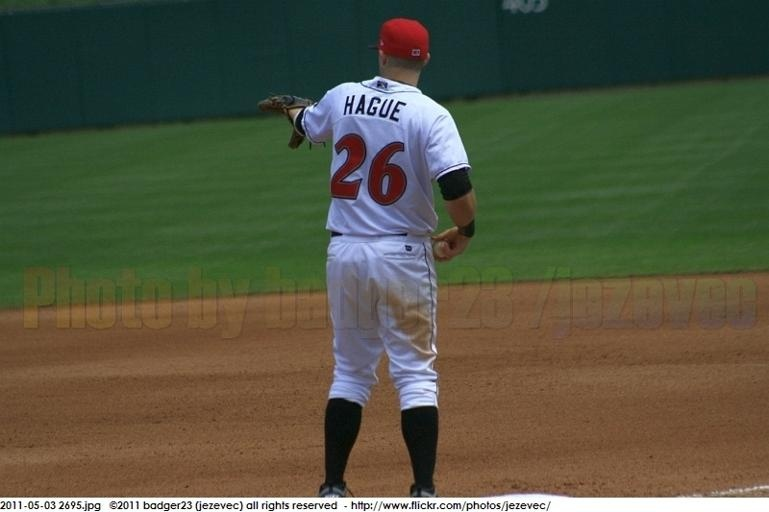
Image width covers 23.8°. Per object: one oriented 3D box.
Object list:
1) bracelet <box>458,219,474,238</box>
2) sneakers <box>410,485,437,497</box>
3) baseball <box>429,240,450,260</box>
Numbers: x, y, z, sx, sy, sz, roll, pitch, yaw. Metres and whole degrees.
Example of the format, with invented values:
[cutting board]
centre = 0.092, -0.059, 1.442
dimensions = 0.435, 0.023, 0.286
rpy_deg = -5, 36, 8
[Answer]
[bracelet]
centre = 0.780, -0.266, 16.703
dimensions = 0.147, 0.148, 0.149
rpy_deg = 3, 5, 14
[sneakers]
centre = 0.367, 2.091, 16.489
dimensions = 0.218, 0.106, 0.072
rpy_deg = -1, 5, -2
[baseball]
centre = 0.539, -0.070, 16.779
dimensions = 0.138, 0.176, 0.167
rpy_deg = -2, -9, 26
